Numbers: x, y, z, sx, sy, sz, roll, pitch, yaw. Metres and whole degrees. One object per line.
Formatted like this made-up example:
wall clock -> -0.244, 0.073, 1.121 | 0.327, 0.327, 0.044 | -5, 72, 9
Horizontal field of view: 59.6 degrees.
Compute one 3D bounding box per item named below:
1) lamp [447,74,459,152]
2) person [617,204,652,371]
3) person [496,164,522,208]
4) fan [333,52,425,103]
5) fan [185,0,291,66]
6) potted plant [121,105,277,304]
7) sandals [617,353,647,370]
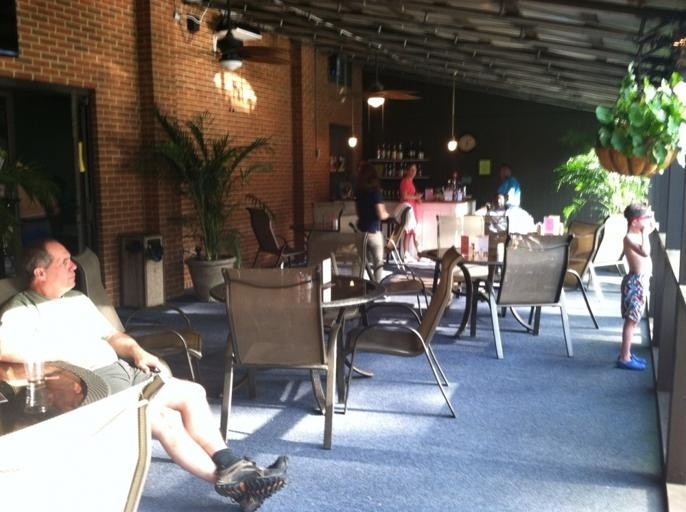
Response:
lamp -> 2.321, -2.907, 12.619 | 0.217, 1.499, 0.635 | 1, 11, 10
person -> 2.634, 0.301, 5.400 | 0.273, 1.503, 0.308 | 6, 12, 30
person -> 3.081, -1.254, 11.091 | 0.373, 0.729, 1.120 | 2, 12, 14
fan -> 0.693, -3.539, 11.879 | 1.106, 0.762, 1.349 | 3, 1, 15
fan -> -1.547, -3.154, 8.455 | 0.913, 0.501, 1.043 | -16, -23, 40
potted plant -> -1.755, -0.922, 8.764 | 2.374, 3.167, 2.026 | -2, 4, -41
sandals -> 2.674, 0.994, 5.551 | 0.162, 0.076, 0.152 | -3, 2, 11
